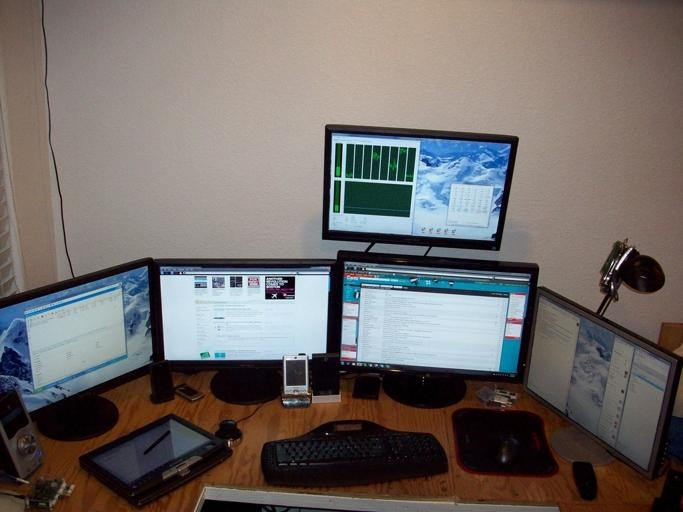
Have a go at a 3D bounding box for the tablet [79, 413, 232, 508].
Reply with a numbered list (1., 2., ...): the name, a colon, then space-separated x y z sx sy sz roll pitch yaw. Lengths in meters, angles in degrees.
1. tablet: -0.599 0.651 1.735 0.305 0.123 0.359 14 16 40

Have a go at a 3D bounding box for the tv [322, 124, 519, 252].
1. tv: 0.266 -0.246 1.964 0.677 0.421 0.043 4 14 1

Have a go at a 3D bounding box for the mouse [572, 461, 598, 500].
1. mouse: 0.776 0.718 1.709 0.076 0.065 0.117 8 13 17

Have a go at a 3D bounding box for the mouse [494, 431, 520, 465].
1. mouse: 0.551 0.638 1.781 0.057 0.026 0.097 1 30 15
